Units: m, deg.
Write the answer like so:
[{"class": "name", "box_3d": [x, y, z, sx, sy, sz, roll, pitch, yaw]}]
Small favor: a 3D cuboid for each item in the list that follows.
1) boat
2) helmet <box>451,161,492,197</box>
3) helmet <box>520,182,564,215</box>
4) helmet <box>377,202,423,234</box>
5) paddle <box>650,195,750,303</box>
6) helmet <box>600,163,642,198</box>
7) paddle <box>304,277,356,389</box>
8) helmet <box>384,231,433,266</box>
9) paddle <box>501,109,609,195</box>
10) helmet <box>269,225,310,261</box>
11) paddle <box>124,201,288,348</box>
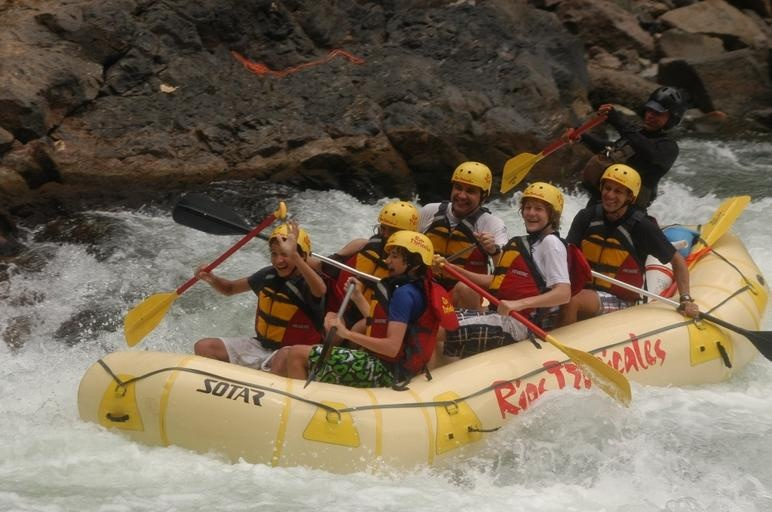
[{"class": "boat", "box_3d": [0.826, 0.646, 6.103, 4.186, 0.562, 2.202, -8, 16, -35]}, {"class": "helmet", "box_3d": [0.911, -0.793, 7.184, 0.343, 0.286, 0.419, 12, -18, 37]}, {"class": "helmet", "box_3d": [1.423, -0.518, 6.552, 0.338, 0.267, 0.455, 15, 9, 42]}, {"class": "helmet", "box_3d": [0.143, -0.379, 6.722, 0.305, 0.249, 0.356, 23, 18, 11]}, {"class": "paddle", "box_3d": [3.277, -0.101, 7.756, 1.430, 0.510, 1.047, -32, 10, -31]}, {"class": "helmet", "box_3d": [2.368, -0.732, 7.018, 0.329, 0.266, 0.408, 20, -7, 22]}, {"class": "paddle", "box_3d": [-0.491, 0.667, 5.984, 0.060, 1.093, 0.154, 31, 10, -35]}, {"class": "helmet", "box_3d": [0.212, -0.040, 5.909, 0.437, 0.239, 0.294, 10, -9, -8]}, {"class": "paddle", "box_3d": [1.884, -1.192, 8.019, 1.404, 0.100, 0.283, -37, -16, 27]}, {"class": "helmet", "box_3d": [-0.840, -0.140, 6.250, 0.307, 0.279, 0.389, 7, 18, 41]}, {"class": "paddle", "box_3d": [-1.905, 0.251, 7.372, 2.765, 0.444, 0.358, -29, 22, 1]}]
